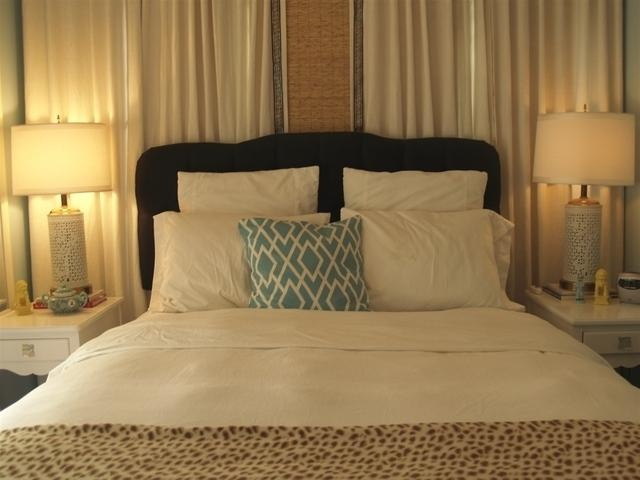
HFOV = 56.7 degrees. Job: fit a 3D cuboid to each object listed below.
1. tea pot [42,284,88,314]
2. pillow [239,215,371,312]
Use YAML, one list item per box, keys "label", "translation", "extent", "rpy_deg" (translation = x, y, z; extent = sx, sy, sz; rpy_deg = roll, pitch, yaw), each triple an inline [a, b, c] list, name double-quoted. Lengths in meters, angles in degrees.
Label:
- label: "tea pot"
  translation: [-1.323, 0.321, 3.095]
  extent: [0.175, 0.121, 0.144]
  rpy_deg: [0, -4, -6]
- label: "pillow"
  translation: [-0.066, 0.111, 2.865]
  extent: [0.485, 0.493, 0.159]
  rpy_deg: [1, -16, -7]
